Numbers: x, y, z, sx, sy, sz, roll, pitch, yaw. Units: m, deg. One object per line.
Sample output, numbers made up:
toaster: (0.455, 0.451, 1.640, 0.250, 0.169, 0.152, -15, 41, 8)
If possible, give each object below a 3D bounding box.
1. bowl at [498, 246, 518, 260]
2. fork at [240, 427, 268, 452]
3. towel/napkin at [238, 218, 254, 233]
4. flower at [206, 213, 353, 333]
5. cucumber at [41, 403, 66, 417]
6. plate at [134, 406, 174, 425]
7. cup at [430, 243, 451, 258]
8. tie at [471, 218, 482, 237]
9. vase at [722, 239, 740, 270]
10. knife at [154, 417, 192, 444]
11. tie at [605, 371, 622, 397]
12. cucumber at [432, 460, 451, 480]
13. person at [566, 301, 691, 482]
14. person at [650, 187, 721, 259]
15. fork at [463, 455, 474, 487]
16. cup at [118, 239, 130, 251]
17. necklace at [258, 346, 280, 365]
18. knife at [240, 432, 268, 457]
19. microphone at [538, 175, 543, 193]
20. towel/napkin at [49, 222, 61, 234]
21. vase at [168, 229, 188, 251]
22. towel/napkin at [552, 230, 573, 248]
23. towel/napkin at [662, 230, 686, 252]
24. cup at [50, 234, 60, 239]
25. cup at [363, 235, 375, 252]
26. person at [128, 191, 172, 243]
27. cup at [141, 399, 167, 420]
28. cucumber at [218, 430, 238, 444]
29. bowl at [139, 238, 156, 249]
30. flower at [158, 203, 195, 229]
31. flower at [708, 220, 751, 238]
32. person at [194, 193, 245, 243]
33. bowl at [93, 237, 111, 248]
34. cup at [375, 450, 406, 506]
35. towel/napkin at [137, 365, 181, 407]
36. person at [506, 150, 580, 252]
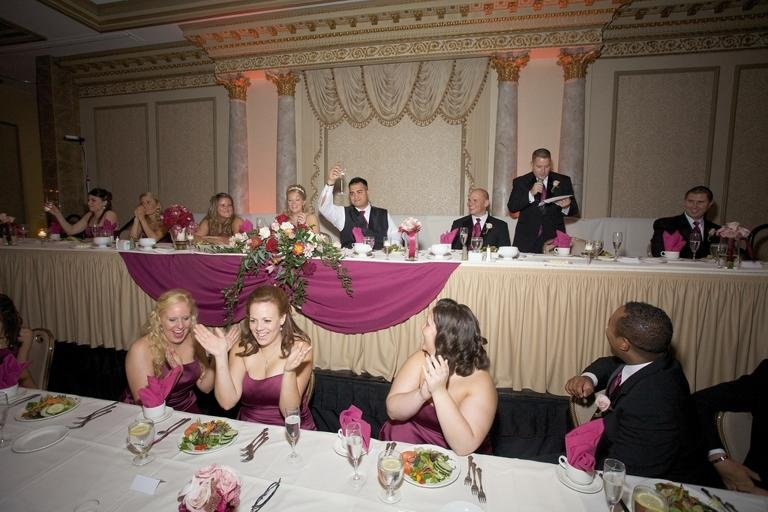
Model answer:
bowl: (1.568, -0.049, 7.174, 0.171, 0.139, 0.171, 3, 3, 0)
fork: (-1.163, 1.687, 5.123, 0.091, 0.026, 0.261, 24, 35, 19)
towel/napkin: (-1.866, -0.433, 7.496, 0.240, 0.178, 0.259, 3, -12, -14)
flower: (-1.300, 0.162, 7.563, 1.203, 1.104, 1.236, 3, 6, -9)
cucumber: (-3.128, 1.456, 5.297, 0.138, 0.044, 0.108, -3, 12, -23)
plate: (-2.154, 1.486, 5.273, 0.182, 0.052, 0.199, 0, 13, 0)
cup: (0.697, -0.070, 7.109, 0.178, 0.146, 0.173, 1, 3, 0)
tie: (1.306, -0.409, 8.028, 0.127, 0.239, 0.504, -1, 8, 12)
vase: (4.078, -0.039, 6.644, 0.285, 0.334, 0.123, -8, 10, -36)
knife: (-1.962, 1.599, 5.239, 0.107, 0.051, 0.437, 23, 34, 20)
tie: (2.263, 1.276, 5.574, 0.073, 0.112, 0.394, 3, 21, 17)
cucumber: (0.504, 1.889, 4.937, 0.118, 0.146, 0.048, -9, -30, -2)
person: (2.399, 1.344, 5.450, 0.977, 2.234, 1.090, 5, 11, 38)
person: (4.234, -0.441, 7.769, 0.919, 1.172, 0.566, 2, 21, 5)
fork: (0.742, 1.908, 4.965, 0.049, 0.044, 0.267, 7, 32, 12)
cup: (-3.618, -0.151, 7.767, 0.116, 0.169, 0.218, -5, 7, -34)
necklace: (-1.197, 1.029, 5.781, 0.183, 0.088, 0.148, 5, 23, 10)
knife: (-1.183, 1.717, 5.096, 0.104, 0.028, 0.296, 33, 44, 15)
microphone: (2.214, -1.027, 8.051, 0.110, 0.232, 0.378, 0, 8, 17)
towel/napkin: (-4.902, -0.433, 8.325, 0.161, 0.067, 0.175, 15, -20, 36)
vase: (-2.810, -0.255, 7.697, 0.262, 0.374, 0.229, -3, 14, -23)
towel/napkin: (2.324, -0.211, 7.406, 0.225, 0.260, 0.215, 2, -11, 12)
towel/napkin: (3.635, -0.185, 7.102, 0.255, 0.294, 0.110, 17, -10, 25)
cup: (-4.904, -0.288, 8.352, 0.084, 0.090, 0.114, -3, -5, 39)
cup: (-0.225, -0.177, 7.363, 0.191, 0.217, 0.126, 3, 5, 40)
person: (-3.552, -0.547, 8.526, 0.458, 0.852, 0.490, 5, -12, -19)
cup: (-2.161, 1.441, 5.269, 0.145, 0.123, 0.155, -1, -4, 0)
cucumber: (-1.434, 1.657, 5.127, 0.077, 0.023, 0.124, 8, 18, 13)
bowl: (-3.296, -0.177, 7.765, 0.150, 0.119, 0.157, 6, 3, 0)
flower: (-2.872, -0.555, 7.781, 0.355, 0.436, 0.392, -1, 7, -4)
flower: (4.128, -0.298, 6.682, 0.372, 0.201, 0.220, -4, 8, -11)
person: (-2.458, -0.501, 8.347, 0.565, 0.945, 0.855, 6, 9, -16)
bowl: (-4.005, -0.203, 7.957, 0.159, 0.128, 0.173, 1, -7, 0)
cup: (0.032, 1.918, 4.877, 0.241, 0.404, 0.198, -2, 8, 4)
towel/napkin: (-2.144, 1.270, 5.370, 0.328, 0.426, 0.144, 13, -10, 5)
person: (2.362, -0.343, 8.500, 0.843, 2.567, 0.816, 4, 28, 20)
